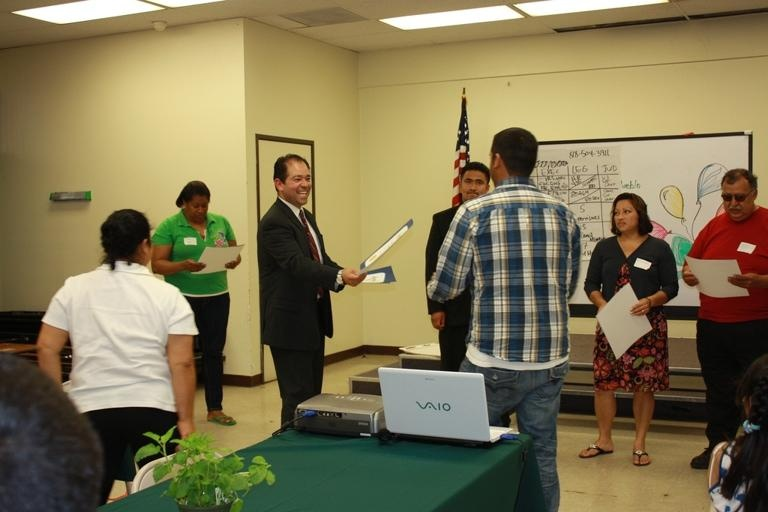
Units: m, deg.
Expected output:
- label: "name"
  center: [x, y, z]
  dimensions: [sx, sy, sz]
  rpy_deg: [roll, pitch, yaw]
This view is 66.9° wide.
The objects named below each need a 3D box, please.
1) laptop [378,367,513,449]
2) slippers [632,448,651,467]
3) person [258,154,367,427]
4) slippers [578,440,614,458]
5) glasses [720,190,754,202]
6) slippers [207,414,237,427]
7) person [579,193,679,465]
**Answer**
- label: "laptop"
  center: [0.193, 0.569, 2.196]
  dimensions: [0.369, 0.238, 0.333]
  rpy_deg: [0, 2, 26]
- label: "slippers"
  center: [1.872, 1.476, 4.220]
  dimensions: [0.119, 0.088, 0.146]
  rpy_deg: [6, 16, 25]
- label: "person"
  center: [-0.470, 0.209, 3.447]
  dimensions: [0.530, 1.561, 0.750]
  rpy_deg: [-4, 15, -13]
- label: "slippers"
  center: [1.606, 1.480, 4.441]
  dimensions: [0.270, 0.098, 0.105]
  rpy_deg: [2, -5, -12]
- label: "glasses"
  center: [2.379, -0.405, 3.892]
  dimensions: [0.194, 0.107, 0.126]
  rpy_deg: [6, 16, 25]
- label: "slippers"
  center: [-1.461, 1.469, 5.259]
  dimensions: [0.244, 0.068, 0.108]
  rpy_deg: [0, 0, 30]
- label: "person"
  center: [1.781, 0.583, 4.310]
  dimensions: [0.651, 2.026, 0.729]
  rpy_deg: [7, 16, 28]
